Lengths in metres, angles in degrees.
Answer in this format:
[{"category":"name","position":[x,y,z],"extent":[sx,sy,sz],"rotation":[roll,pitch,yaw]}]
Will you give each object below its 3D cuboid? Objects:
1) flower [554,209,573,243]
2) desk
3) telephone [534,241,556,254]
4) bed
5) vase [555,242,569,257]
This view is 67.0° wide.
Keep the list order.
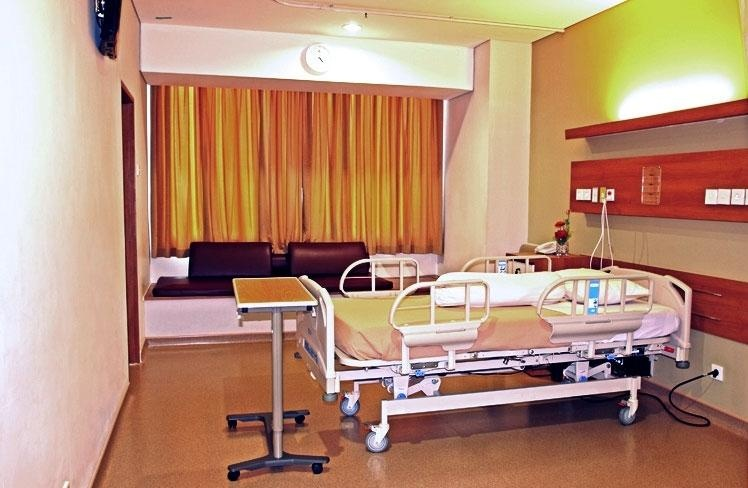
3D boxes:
[{"category":"flower","position":[1.981,-0.195,5.931],"extent":[0.133,0.325,0.518],"rotation":[4,12,19]},{"category":"desk","position":[-0.780,0.940,4.316],"extent":[0.737,1.298,1.014],"rotation":[-3,12,-15]},{"category":"telephone","position":[1.805,0.037,5.916],"extent":[0.167,0.059,0.143],"rotation":[-6,4,14]},{"category":"bed","position":[0.988,0.659,4.755],"extent":[2.755,1.221,1.536],"rotation":[-3,6,-12]},{"category":"vase","position":[1.926,0.046,5.779],"extent":[0.121,0.131,0.125],"rotation":[6,13,32]}]
